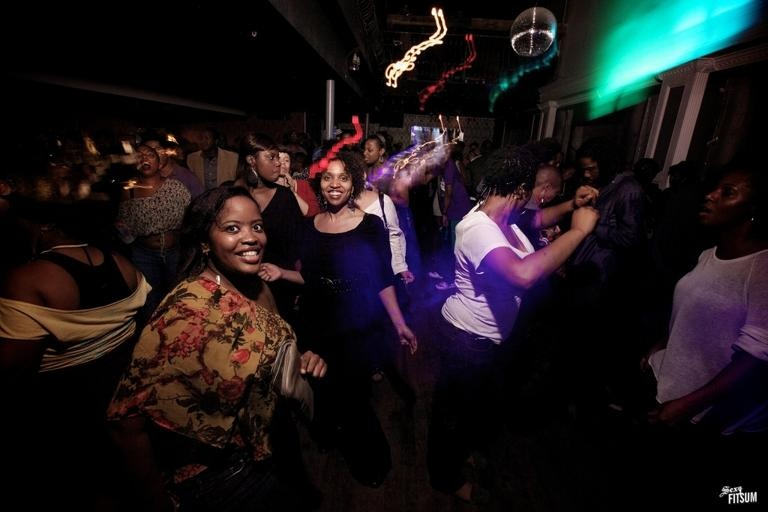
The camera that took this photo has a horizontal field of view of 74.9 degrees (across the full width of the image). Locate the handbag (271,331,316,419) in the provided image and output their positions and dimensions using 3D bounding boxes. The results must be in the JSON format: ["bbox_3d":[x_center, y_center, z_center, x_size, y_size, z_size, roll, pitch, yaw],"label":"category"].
[{"bbox_3d":[-0.625,0.916,3.849,0.252,0.531,0.393,-7,20,-22],"label":"handbag"}]
